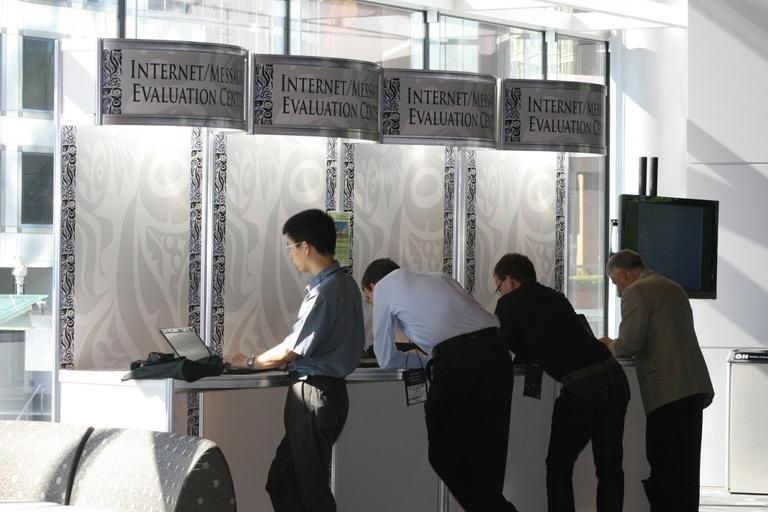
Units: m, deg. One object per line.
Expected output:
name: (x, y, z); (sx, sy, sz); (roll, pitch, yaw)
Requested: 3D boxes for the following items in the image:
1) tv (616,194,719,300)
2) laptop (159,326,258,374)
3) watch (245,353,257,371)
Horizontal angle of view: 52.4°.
tv: (2.815, -0.068, 7.584); (0.140, 1.028, 1.091); (-2, 5, -29)
laptop: (-1.289, 0.622, 5.465); (0.401, 0.278, 0.417); (-8, -5, 21)
watch: (-0.940, 0.733, 5.460); (0.062, 0.107, 0.103); (7, -20, 5)
